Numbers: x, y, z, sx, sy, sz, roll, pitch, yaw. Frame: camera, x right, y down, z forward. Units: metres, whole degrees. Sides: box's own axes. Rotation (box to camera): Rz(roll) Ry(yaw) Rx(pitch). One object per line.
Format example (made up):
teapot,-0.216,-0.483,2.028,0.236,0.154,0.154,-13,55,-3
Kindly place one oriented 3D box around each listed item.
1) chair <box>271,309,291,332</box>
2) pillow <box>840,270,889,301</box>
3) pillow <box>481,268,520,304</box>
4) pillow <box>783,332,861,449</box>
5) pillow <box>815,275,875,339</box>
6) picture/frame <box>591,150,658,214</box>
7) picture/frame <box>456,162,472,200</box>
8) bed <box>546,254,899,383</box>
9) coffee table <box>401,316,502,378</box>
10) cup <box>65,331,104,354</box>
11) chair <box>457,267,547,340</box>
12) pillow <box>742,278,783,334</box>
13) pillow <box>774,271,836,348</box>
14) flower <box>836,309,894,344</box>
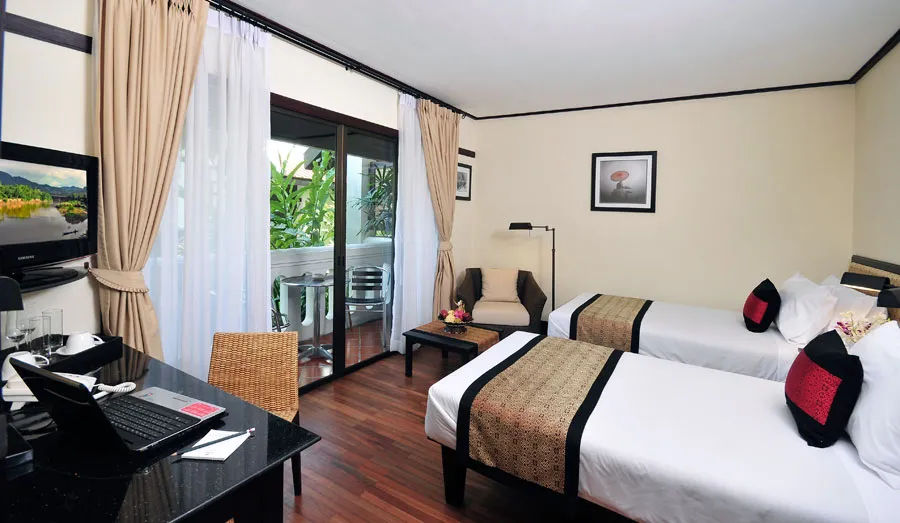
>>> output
chair,-1.755,0.627,5.470,0.193,0.239,0.191,1,1,27
pillow,3.457,0.222,4.446,0.289,0.248,1.201,8,8,37
pillow,0.681,0.354,7.166,0.459,0.404,0.161,1,-24,2
pillow,2.708,0.971,3.833,0.323,0.590,0.527,10,-37,24
pillow,3.644,0.433,4.832,0.103,0.422,0.425,23,12,-12
picture/frame,2.313,-1.047,6.914,0.929,0.874,0.061,0,0,20
picture/frame,0.189,-1.149,7.556,0.046,0.550,0.605,1,2,23
bed,2.550,0.302,5.501,2.419,0.896,1.442,5,7,34
coffee table,0.052,1.051,6.158,0.943,0.491,0.891,6,12,25
cup,-2.768,0.636,4.025,0.140,0.143,0.217,3,-8,-12
chair,0.663,0.520,6.965,0.966,0.968,0.986,1,-18,3
pillow,3.239,0.460,5.494,0.391,0.461,0.699,7,12,22
pillow,3.560,0.408,5.452,0.566,0.485,1.324,-10,10,25
flower,3.482,0.522,4.517,0.336,0.136,0.473,-30,-8,38
